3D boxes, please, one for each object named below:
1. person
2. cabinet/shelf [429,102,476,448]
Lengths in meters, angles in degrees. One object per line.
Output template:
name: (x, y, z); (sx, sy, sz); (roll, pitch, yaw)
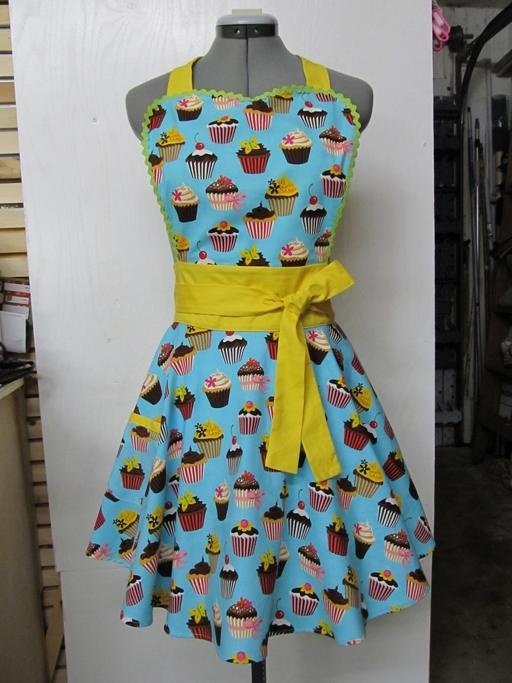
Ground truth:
person: (0.000, -0.029, 0.951); (0.515, 0.993, 0.357); (3, 11, 21)
cabinet/shelf: (0.837, -0.265, 2.694); (0.167, 1.511, 0.112); (1, 11, 15)
